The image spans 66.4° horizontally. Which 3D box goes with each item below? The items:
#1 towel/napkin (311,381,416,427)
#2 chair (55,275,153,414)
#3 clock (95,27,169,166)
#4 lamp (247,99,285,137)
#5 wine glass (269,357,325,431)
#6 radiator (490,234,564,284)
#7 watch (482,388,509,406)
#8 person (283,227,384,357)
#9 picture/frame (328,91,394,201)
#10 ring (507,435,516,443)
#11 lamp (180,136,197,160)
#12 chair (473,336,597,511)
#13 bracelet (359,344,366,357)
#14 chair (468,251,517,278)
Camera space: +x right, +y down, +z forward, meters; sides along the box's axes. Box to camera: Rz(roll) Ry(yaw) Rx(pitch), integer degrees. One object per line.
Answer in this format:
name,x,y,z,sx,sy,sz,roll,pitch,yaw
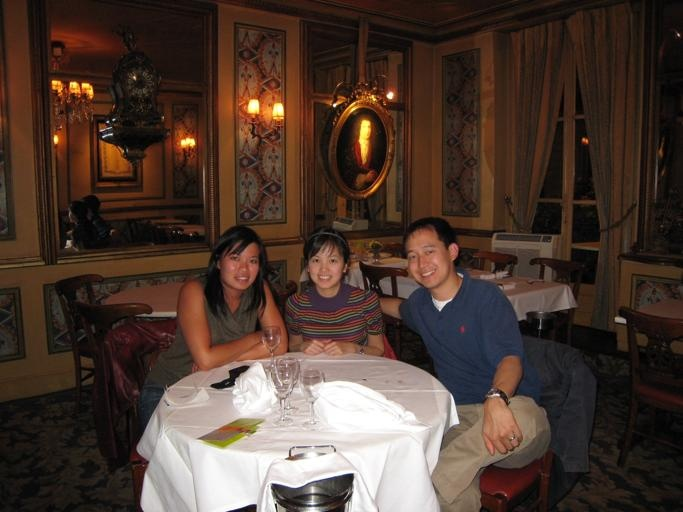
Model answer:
towel/napkin,0.090,0.657,2.216,0.316,0.061,0.216,11,27,24
chair,-1.804,0.668,3.900,0.617,1.017,0.796,-13,21,-37
clock,-2.087,-1.488,5.218,0.657,1.100,0.231,-6,13,-24
lamp,-0.897,-1.633,6.104,0.388,0.386,0.169,-6,22,-30
wine glass,-0.140,0.596,2.288,0.296,0.376,0.178,-1,2,3
radiator,2.260,0.130,6.612,0.273,0.776,0.775,23,-10,-35
watch,0.704,0.640,2.386,0.094,0.063,0.102,12,-30,-6
person,-0.065,0.286,3.189,0.643,0.914,0.524,-1,12,4
picture/frame,0.220,-1.496,6.869,1.186,1.671,0.213,-11,15,-40
ring,0.750,0.806,2.302,0.030,0.032,0.008,-27,-2,20
lamp,-1.662,-1.188,5.682,0.196,0.318,0.099,-8,23,-26
chair,1.082,0.861,2.677,0.361,0.810,0.291,6,14,29
bracelet,0.122,0.547,3.064,0.030,0.043,0.017,-8,5,-34
chair,1.745,0.088,5.980,0.262,0.445,0.285,0,3,-41
